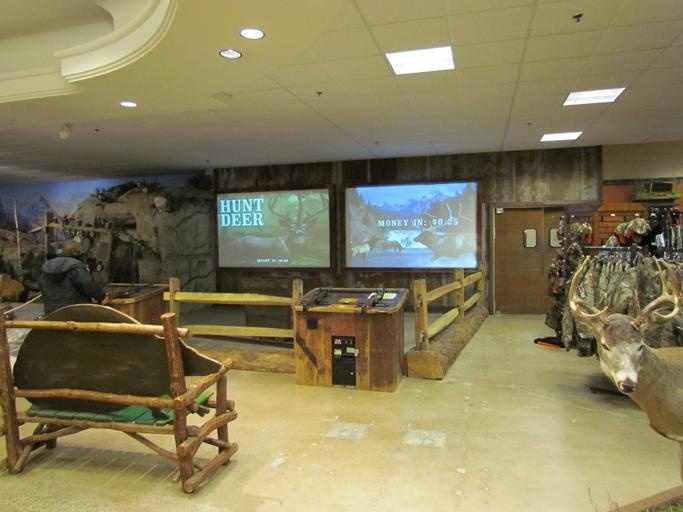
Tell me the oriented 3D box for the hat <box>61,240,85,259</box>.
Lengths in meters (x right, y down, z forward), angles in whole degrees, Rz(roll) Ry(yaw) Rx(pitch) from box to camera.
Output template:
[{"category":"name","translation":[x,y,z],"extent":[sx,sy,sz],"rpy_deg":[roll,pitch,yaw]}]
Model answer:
[{"category":"hat","translation":[-3.957,-0.104,6.808],"extent":[0.255,0.210,0.208],"rpy_deg":[-25,-29,9]}]
